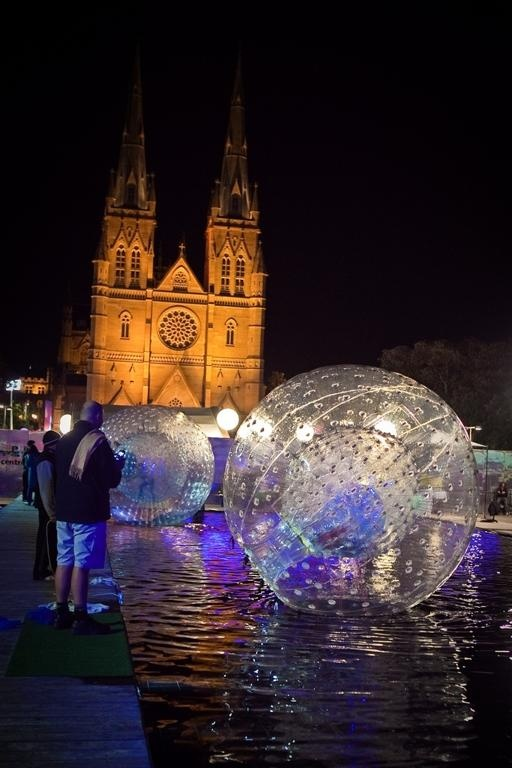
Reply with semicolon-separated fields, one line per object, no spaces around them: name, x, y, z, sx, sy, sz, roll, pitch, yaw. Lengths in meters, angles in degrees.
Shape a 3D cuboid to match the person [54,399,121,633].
person;-1.331;1.071;5.996;0.529;1.572;0.346;-1;-6;29
